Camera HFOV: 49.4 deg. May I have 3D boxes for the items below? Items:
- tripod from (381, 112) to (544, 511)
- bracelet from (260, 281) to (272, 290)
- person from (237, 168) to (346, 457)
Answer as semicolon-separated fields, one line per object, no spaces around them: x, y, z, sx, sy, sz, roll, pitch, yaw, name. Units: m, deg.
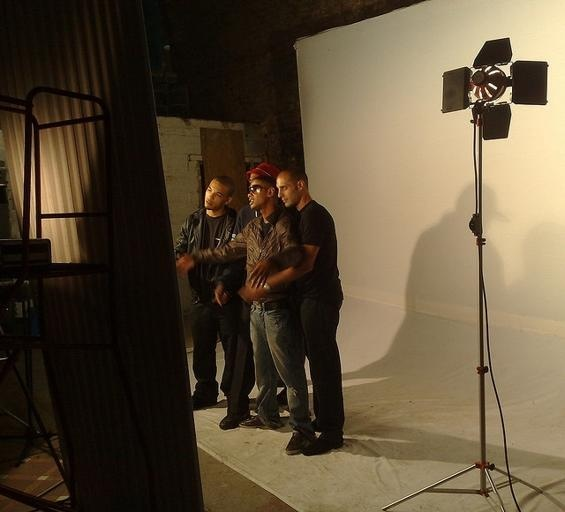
0.966;0.147;3.012;0.611;1.668;1.379;1;11;24;tripod
-0.083;0.150;3.188;0.035;0.040;0.009;5;13;31;bracelet
0.123;0.273;3.217;0.372;1.460;0.356;1;11;26;person
